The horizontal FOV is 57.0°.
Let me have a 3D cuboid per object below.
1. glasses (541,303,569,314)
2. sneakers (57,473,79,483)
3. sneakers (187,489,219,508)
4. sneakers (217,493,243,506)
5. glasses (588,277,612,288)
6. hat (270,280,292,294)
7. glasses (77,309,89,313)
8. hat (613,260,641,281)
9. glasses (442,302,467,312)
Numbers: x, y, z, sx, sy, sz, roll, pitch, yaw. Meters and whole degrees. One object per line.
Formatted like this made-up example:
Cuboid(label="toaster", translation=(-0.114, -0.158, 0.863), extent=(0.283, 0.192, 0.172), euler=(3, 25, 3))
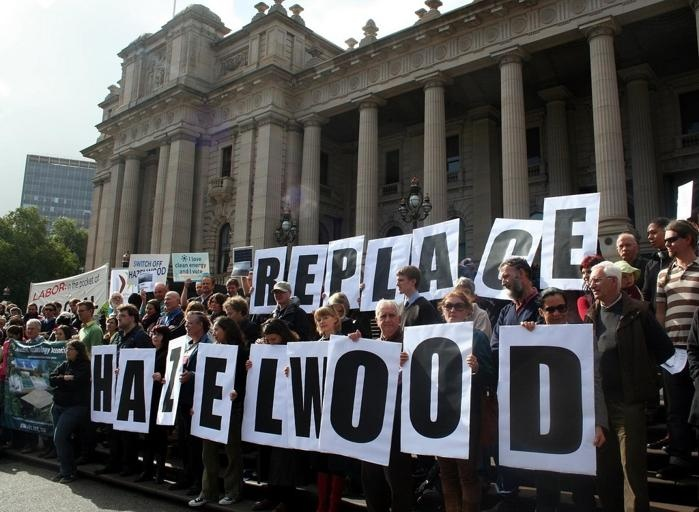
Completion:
Cuboid(label="glasses", translation=(2.829, 0.722, 8.880), extent=(0.328, 0.114, 0.153), euler=(-1, -8, 6))
Cuboid(label="sneakers", translation=(-5.375, 4.175, 12.142), extent=(0.259, 0.112, 0.152), euler=(11, -10, -20))
Cuboid(label="sneakers", translation=(-2.478, 4.000, 10.636), extent=(0.535, 0.243, 0.207), euler=(5, -17, 7))
Cuboid(label="sneakers", translation=(-2.001, 4.005, 10.630), extent=(0.334, 0.143, 0.137), euler=(10, -6, -11))
Cuboid(label="glasses", translation=(3.528, 0.371, 8.971), extent=(0.336, 0.158, 0.182), euler=(-4, -9, 25))
Cuboid(label="hat", translation=(-1.199, 0.558, 11.746), extent=(0.207, 0.157, 0.303), euler=(-2, -10, 17))
Cuboid(label="glasses", translation=(-5.770, 1.172, 13.880), extent=(0.184, 0.060, 0.194), euler=(-5, -9, 38))
Cuboid(label="hat", translation=(4.569, 0.237, 10.594), extent=(0.314, 0.164, 0.431), euler=(0, 10, -30))
Cuboid(label="glasses", translation=(1.493, 0.711, 9.126), extent=(0.327, 0.115, 0.068), euler=(-1, -8, 10))
